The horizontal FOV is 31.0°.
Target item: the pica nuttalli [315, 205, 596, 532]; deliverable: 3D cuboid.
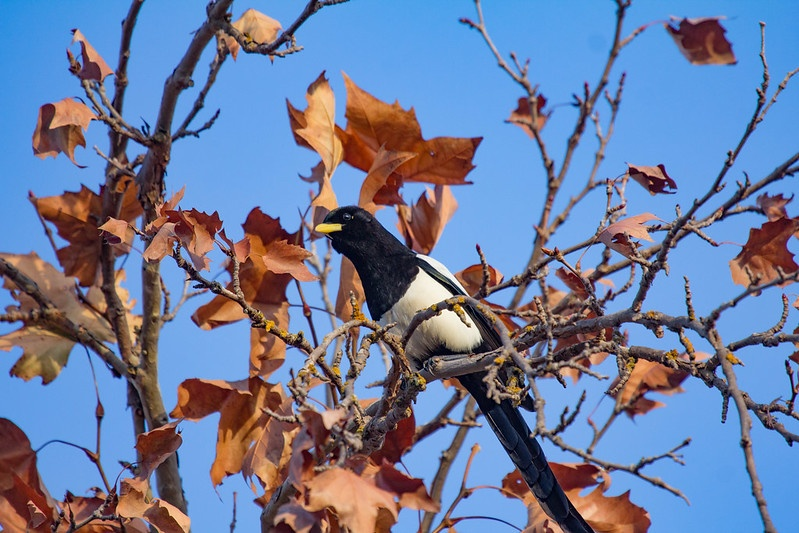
[{"bbox_3d":[0.300,0.685,8.749,2.460,0.655,0.997,37,-58,21],"label":"pica nuttalli"}]
